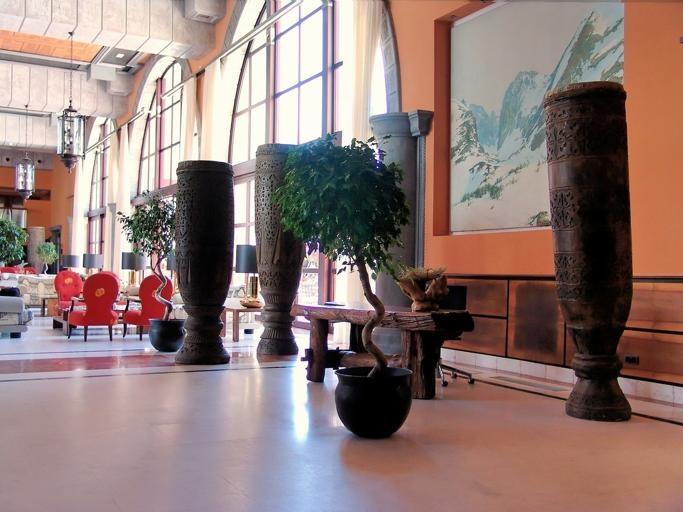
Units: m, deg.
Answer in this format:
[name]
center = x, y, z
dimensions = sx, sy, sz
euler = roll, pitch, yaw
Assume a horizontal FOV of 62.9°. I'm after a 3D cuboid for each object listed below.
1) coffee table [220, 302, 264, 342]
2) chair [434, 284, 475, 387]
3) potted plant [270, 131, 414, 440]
[coffee table]
center = -1.674, 1.032, 9.478
dimensions = 0.629, 0.608, 1.202
euler = 0, 0, -18
[chair]
center = 1.112, 0.802, 6.168
dimensions = 0.571, 0.951, 0.572
euler = 10, 1, 12
[potted plant]
center = 0.049, 0.207, 4.168
dimensions = 0.937, 2.196, 0.590
euler = 0, 0, 5
